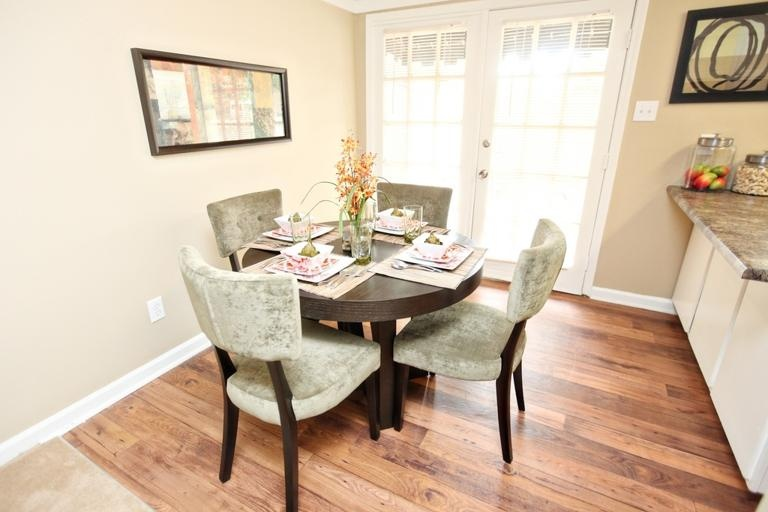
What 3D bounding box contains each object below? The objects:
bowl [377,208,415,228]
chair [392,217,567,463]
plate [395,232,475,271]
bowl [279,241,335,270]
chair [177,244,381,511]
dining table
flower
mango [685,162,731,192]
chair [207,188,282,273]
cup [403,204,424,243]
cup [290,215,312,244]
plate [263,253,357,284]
[{"bbox_3d":[0.073,-0.261,3.189,0.150,0.063,0.184,10,25,26],"label":"bowl"},{"bbox_3d":[0.557,0.479,2.946,0.924,1.233,0.846,5,19,15],"label":"chair"},{"bbox_3d":[0.279,-0.016,2.782,0.318,0.081,0.293,11,32,30],"label":"plate"},{"bbox_3d":[-0.420,-0.019,2.714,0.186,0.076,0.218,5,19,18],"label":"bowl"},{"bbox_3d":[-0.479,0.614,2.533,0.918,1.350,0.614,-10,24,-23],"label":"chair"},{"bbox_3d":[-0.243,0.506,3.152,1.515,0.954,1.446,11,6,-30],"label":"dining table"},{"bbox_3d":[-0.198,-0.365,2.748,0.436,0.382,0.390,4,32,25],"label":"flower"},{"bbox_3d":[2.408,-0.591,3.538,0.257,0.135,0.183,-11,17,-27],"label":"mango"},{"bbox_3d":[-0.922,-0.175,3.144,0.310,0.476,0.356,26,44,25],"label":"chair"},{"bbox_3d":[0.147,-0.202,3.045,0.164,0.237,0.158,4,7,0],"label":"cup"},{"bbox_3d":[-0.535,-0.166,3.025,0.150,0.157,0.138,1,27,-1],"label":"cup"},{"bbox_3d":[-0.368,0.064,2.663,0.254,0.036,0.240,14,26,30],"label":"plate"}]
